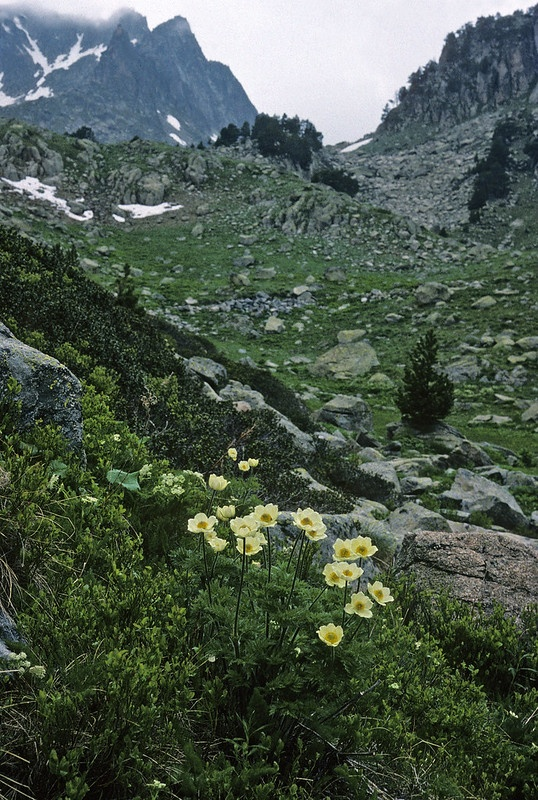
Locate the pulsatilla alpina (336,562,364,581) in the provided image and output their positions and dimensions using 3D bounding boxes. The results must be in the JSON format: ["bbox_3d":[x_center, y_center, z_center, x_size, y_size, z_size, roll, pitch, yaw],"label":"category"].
[{"bbox_3d":[0.438,0.955,3.660,0.113,0.057,0.124,5,19,7],"label":"pulsatilla alpina"}]

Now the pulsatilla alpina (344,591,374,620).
[{"bbox_3d":[0.482,1.115,3.611,0.137,0.117,0.146,4,8,15],"label":"pulsatilla alpina"}]
